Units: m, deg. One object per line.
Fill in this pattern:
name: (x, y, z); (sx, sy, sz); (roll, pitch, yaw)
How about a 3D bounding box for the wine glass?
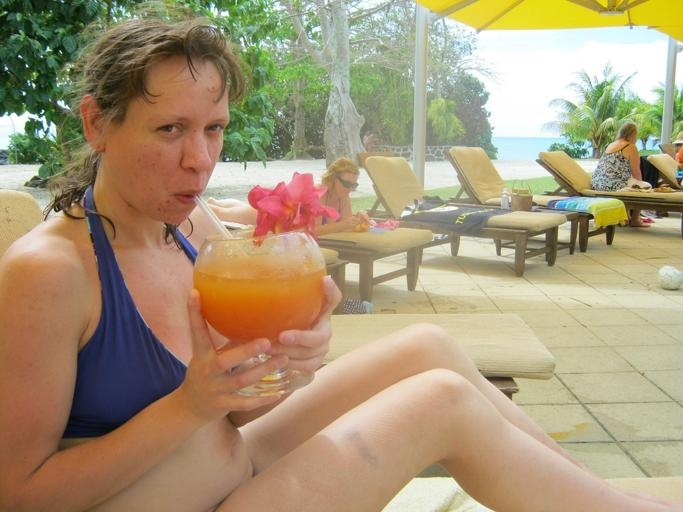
wine glass: (-0.145, 0.090, 1.085); (0.319, 0.287, 0.323); (2, 10, 42)
